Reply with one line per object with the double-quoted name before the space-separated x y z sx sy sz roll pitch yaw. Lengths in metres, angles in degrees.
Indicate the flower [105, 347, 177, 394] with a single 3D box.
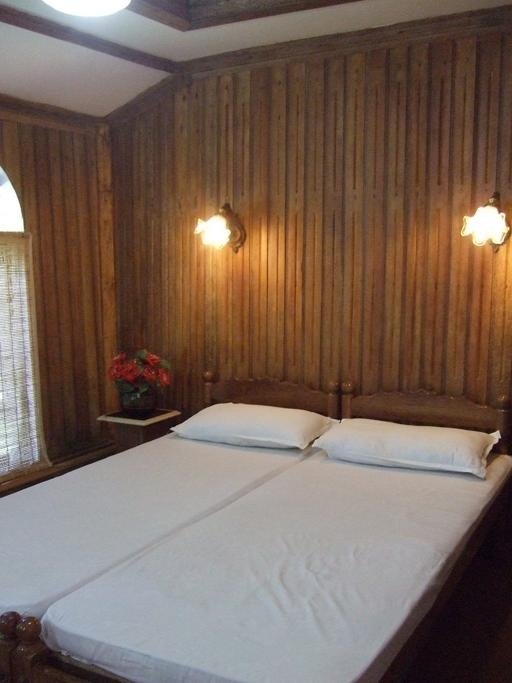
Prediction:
"flower" -0.713 0.182 3.531 0.318 0.215 0.302 6 18 -4
